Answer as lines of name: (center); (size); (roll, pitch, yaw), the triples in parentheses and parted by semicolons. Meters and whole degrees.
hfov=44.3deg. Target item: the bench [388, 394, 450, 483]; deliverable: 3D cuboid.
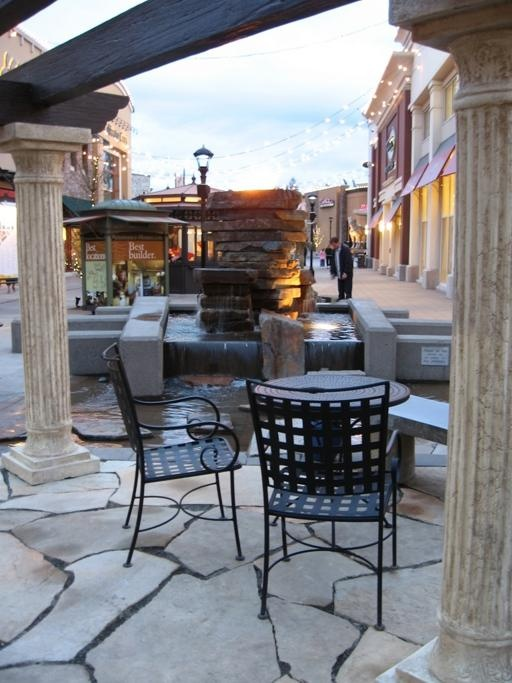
bench: (0.957, 0.585, 3.717); (0.488, 0.313, 0.730); (0, 3, 0)

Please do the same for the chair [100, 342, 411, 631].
chair: (0.095, 0.469, 2.931); (1.573, 0.940, 1.124); (1, 12, 20)
